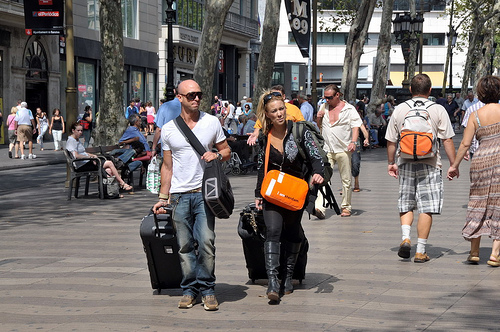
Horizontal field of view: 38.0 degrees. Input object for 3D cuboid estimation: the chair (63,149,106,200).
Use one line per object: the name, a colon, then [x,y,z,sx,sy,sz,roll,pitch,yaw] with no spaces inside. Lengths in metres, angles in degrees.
chair: [-3.644,0.101,16.594,0.960,0.965,1.082,3,10,5]

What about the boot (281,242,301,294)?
boot: [0.511,1.283,9.310,0.267,0.661,0.181,-2,8,-12]

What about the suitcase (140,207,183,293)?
suitcase: [-1.086,1.082,9.241,0.484,1.121,0.289,2,8,19]

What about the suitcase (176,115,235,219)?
suitcase: [-0.557,-0.130,9.051,0.582,1.281,0.494,-8,-19,-9]

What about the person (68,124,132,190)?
person: [-3.216,-0.052,17.031,0.726,0.880,1.869,5,9,26]

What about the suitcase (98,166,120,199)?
suitcase: [-3.073,0.367,16.288,0.402,0.673,0.530,-2,14,-5]

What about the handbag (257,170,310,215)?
handbag: [0.400,0.299,9.138,0.739,0.473,0.449,21,-7,-5]

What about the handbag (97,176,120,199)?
handbag: [-3.017,0.470,16.292,0.616,0.573,0.468,5,1,-3]

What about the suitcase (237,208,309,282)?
suitcase: [0.387,1.061,9.648,0.713,0.986,0.848,-6,-19,24]

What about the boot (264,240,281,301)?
boot: [0.284,1.279,9.019,0.177,0.732,0.370,-1,8,1]

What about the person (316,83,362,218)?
person: [1.688,-0.301,13.865,1.006,2.478,0.874,-1,2,-3]

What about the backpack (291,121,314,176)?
backpack: [0.647,-0.221,9.091,0.262,0.666,0.212,-1,8,0]
